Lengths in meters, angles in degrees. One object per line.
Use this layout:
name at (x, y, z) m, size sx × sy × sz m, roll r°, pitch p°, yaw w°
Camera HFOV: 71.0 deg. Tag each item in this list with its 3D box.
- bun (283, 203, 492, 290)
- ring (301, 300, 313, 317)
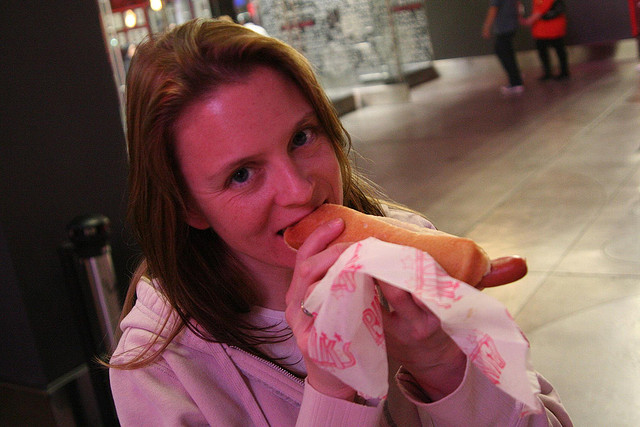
bun at (0.131, 0.082, 1.062) m, size 0.531 × 0.140 × 0.143 m, roll 12°, pitch 60°, yaw 24°
ring at (-0.033, 0.212, 0.993) m, size 0.010 × 0.036 × 0.036 m, roll -29°, pitch 9°, yaw -1°
